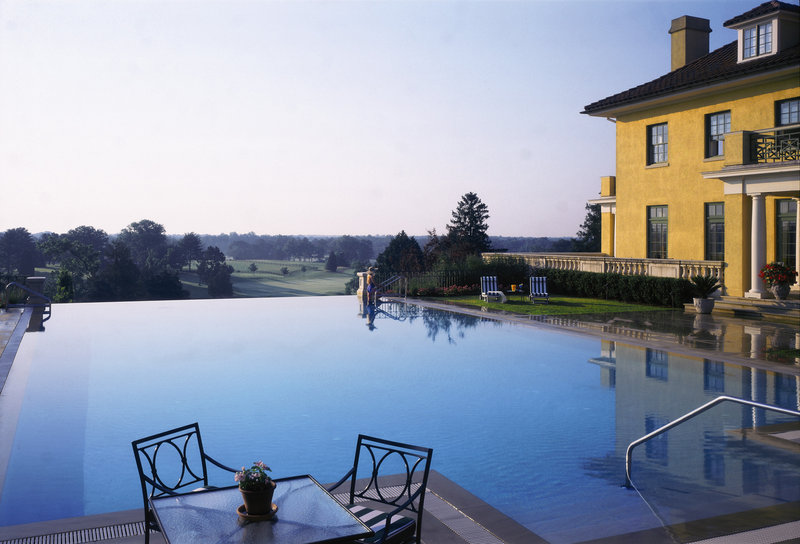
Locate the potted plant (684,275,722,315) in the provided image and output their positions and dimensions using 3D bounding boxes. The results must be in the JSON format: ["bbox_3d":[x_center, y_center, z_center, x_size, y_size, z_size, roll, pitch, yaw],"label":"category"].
[{"bbox_3d":[11.571,0.899,23.031,0.975,1.417,1.364,1,3,26],"label":"potted plant"}]

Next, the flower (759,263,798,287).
[{"bbox_3d":[12.353,0.131,19.721,0.756,0.585,0.789,5,5,32],"label":"flower"}]
